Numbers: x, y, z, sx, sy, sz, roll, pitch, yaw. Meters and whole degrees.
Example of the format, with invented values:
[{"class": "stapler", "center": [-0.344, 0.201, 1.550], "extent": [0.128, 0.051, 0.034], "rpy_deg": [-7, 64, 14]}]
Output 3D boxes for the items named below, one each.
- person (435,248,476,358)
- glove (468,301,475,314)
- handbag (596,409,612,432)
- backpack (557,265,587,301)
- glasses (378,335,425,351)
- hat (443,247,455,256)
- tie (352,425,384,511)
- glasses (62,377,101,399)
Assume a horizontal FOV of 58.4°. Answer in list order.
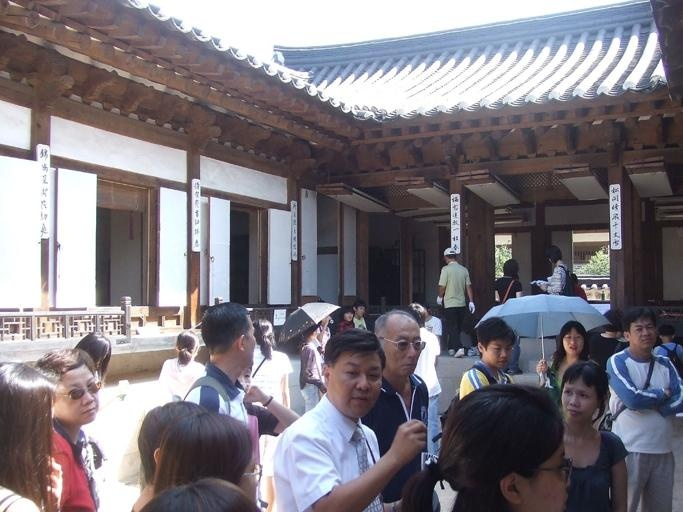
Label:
[{"class": "person", "center": [1.968, 0.839, 10.790], "extent": [0.530, 1.997, 0.626], "rpy_deg": [3, -6, -40]}, {"class": "glove", "center": [2.215, 0.901, 10.377], "extent": [0.073, 0.244, 0.166], "rpy_deg": [0, 5, 4]}, {"class": "handbag", "center": [2.189, 1.388, 5.087], "extent": [0.103, 0.144, 0.383], "rpy_deg": [-3, -7, 24]}, {"class": "backpack", "center": [3.358, 0.466, 8.906], "extent": [0.349, 0.513, 0.261], "rpy_deg": [3, -9, -40]}, {"class": "glasses", "center": [0.395, 0.601, 4.137], "extent": [0.265, 0.083, 0.123], "rpy_deg": [0, -6, -5]}, {"class": "hat", "center": [1.891, -0.070, 10.734], "extent": [0.187, 0.169, 0.401], "rpy_deg": [-1, -7, 10]}, {"class": "tie", "center": [0.141, 1.182, 3.380], "extent": [0.145, 0.477, 0.248], "rpy_deg": [-2, -6, 15]}, {"class": "glasses", "center": [-1.584, 0.830, 3.775], "extent": [0.070, 0.106, 0.220], "rpy_deg": [-3, -7, 26]}]
